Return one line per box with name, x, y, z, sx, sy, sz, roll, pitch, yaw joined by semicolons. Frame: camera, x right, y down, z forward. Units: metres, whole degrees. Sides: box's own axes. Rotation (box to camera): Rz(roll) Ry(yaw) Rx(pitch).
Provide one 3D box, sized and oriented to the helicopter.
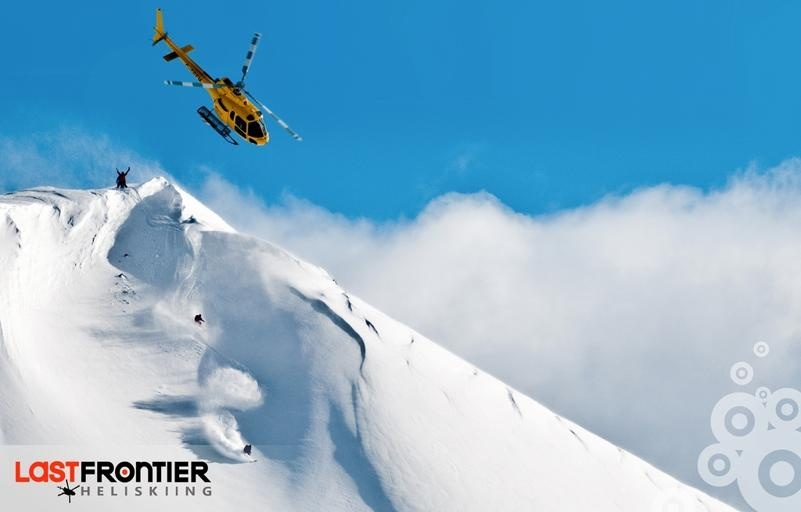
helicopter;-9.975;-8.714;103.088;2.703;9.657;5.710;-52;9;-27
